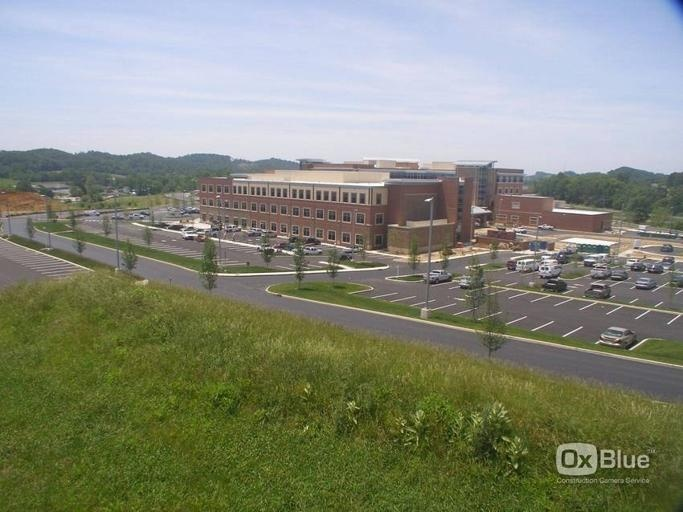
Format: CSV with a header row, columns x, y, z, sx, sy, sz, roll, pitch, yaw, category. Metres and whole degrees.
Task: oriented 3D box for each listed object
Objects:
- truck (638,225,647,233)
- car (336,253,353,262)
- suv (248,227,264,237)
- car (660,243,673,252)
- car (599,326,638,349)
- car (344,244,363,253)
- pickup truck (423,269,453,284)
x,y,z,sx,sy,sz,roll,pitch,yaw,category
62.847,-5.697,114.665,1.197,1.388,2.115,2,6,33,truck
0.371,0.157,66.627,1.206,0.820,1.672,-2,2,-22,car
-14.564,-3.990,91.904,2.720,1.298,1.715,1,5,38,suv
53.435,-1.369,90.136,1.408,0.963,3.181,2,4,43,car
19.476,5.764,38.292,2.756,0.863,1.216,-7,9,-42,car
1.513,-1.064,76.416,1.889,0.844,1.141,0,-1,-42,car
10.212,2.231,58.756,3.842,1.318,1.717,-9,12,-40,pickup truck
